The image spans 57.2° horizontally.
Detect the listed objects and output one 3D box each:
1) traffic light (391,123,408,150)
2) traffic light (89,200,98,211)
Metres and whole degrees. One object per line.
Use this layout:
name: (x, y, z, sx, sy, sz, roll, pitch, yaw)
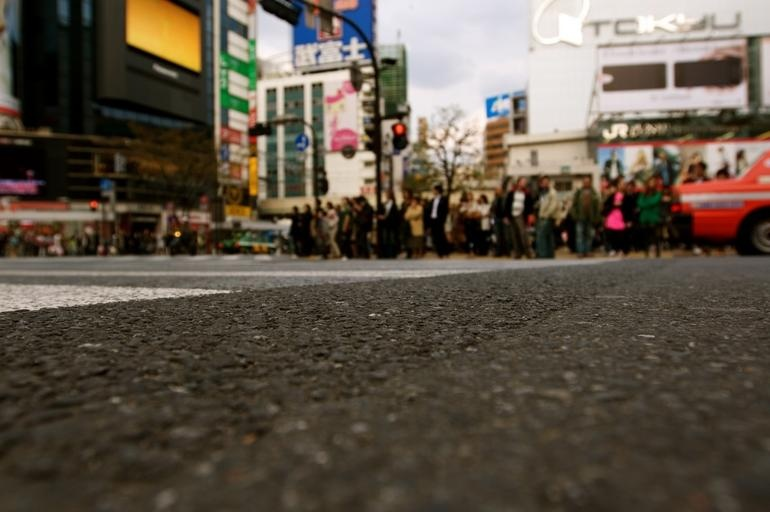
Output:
traffic light: (0.329, -2.796, 16.559, 0.417, 0.679, 0.239, -3, 11, -30)
traffic light: (-17.899, -3.035, 43.645, 0.385, 0.767, 9.356, -4, 6, -21)
